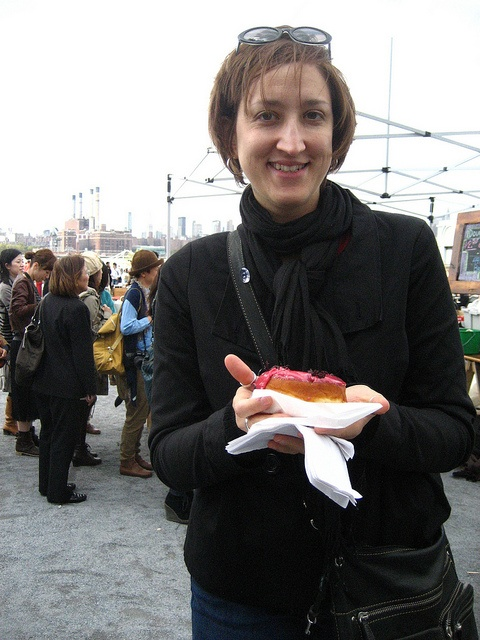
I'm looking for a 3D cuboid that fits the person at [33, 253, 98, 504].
[{"bbox_3d":[-1.412,0.441,4.678,0.459,1.955,0.468,0,4,-36],"label":"person"}]

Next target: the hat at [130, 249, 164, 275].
[{"bbox_3d":[-0.951,-0.591,5.785,0.295,0.115,0.254,-25,12,11],"label":"hat"}]

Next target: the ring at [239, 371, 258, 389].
[{"bbox_3d":[0.020,0.118,1.195,0.033,0.038,0.015,-10,7,-18],"label":"ring"}]

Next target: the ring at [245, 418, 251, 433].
[{"bbox_3d":[0.013,0.199,1.111,0.008,0.023,0.018,1,0,3],"label":"ring"}]

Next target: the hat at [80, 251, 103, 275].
[{"bbox_3d":[-1.644,-0.640,6.442,0.315,0.153,0.434,21,-7,-22],"label":"hat"}]

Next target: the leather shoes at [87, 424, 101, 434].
[{"bbox_3d":[-1.685,1.241,6.650,0.078,0.096,0.226,4,-4,-34],"label":"leather shoes"}]

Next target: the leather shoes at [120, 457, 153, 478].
[{"bbox_3d":[-0.975,1.361,5.413,0.352,0.234,0.126,1,1,-9],"label":"leather shoes"}]

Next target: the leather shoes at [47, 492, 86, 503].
[{"bbox_3d":[-1.375,1.386,4.597,0.277,0.108,0.097,0,0,-35],"label":"leather shoes"}]
